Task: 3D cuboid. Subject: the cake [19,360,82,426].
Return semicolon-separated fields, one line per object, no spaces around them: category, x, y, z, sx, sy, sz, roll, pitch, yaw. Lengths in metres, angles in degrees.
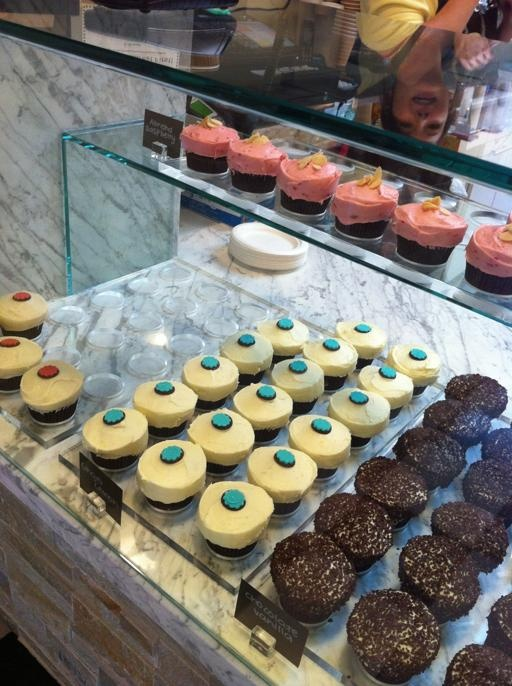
cake;-0.506;0.144;1.339;0.155;0.115;0.153;2;37;-5
